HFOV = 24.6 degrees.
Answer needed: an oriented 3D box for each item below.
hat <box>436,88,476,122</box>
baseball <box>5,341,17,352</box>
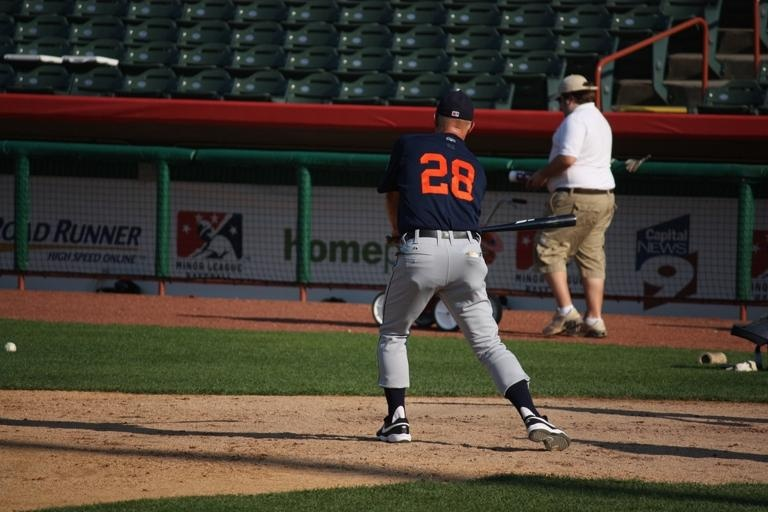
[{"bbox_3d":[1.070,-2.117,24.745,0.604,0.426,0.807,10,19,-6],"label":"hat"},{"bbox_3d":[-5.805,1.416,27.316,0.140,0.129,0.173,3,15,-7],"label":"baseball"}]
